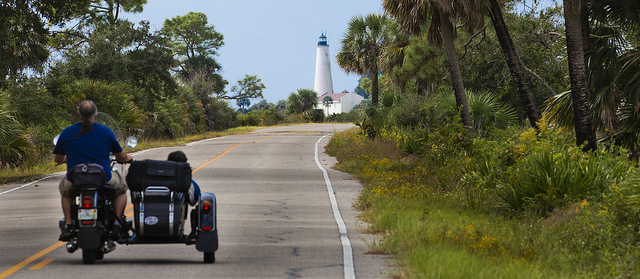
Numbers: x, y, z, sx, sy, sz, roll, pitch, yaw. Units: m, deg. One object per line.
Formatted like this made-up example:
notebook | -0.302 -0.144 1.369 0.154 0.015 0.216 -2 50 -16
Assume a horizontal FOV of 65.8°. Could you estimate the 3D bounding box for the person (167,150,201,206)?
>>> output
person | -5.352 1.527 19.539 1.077 2.183 0.891 -6 0 -16
